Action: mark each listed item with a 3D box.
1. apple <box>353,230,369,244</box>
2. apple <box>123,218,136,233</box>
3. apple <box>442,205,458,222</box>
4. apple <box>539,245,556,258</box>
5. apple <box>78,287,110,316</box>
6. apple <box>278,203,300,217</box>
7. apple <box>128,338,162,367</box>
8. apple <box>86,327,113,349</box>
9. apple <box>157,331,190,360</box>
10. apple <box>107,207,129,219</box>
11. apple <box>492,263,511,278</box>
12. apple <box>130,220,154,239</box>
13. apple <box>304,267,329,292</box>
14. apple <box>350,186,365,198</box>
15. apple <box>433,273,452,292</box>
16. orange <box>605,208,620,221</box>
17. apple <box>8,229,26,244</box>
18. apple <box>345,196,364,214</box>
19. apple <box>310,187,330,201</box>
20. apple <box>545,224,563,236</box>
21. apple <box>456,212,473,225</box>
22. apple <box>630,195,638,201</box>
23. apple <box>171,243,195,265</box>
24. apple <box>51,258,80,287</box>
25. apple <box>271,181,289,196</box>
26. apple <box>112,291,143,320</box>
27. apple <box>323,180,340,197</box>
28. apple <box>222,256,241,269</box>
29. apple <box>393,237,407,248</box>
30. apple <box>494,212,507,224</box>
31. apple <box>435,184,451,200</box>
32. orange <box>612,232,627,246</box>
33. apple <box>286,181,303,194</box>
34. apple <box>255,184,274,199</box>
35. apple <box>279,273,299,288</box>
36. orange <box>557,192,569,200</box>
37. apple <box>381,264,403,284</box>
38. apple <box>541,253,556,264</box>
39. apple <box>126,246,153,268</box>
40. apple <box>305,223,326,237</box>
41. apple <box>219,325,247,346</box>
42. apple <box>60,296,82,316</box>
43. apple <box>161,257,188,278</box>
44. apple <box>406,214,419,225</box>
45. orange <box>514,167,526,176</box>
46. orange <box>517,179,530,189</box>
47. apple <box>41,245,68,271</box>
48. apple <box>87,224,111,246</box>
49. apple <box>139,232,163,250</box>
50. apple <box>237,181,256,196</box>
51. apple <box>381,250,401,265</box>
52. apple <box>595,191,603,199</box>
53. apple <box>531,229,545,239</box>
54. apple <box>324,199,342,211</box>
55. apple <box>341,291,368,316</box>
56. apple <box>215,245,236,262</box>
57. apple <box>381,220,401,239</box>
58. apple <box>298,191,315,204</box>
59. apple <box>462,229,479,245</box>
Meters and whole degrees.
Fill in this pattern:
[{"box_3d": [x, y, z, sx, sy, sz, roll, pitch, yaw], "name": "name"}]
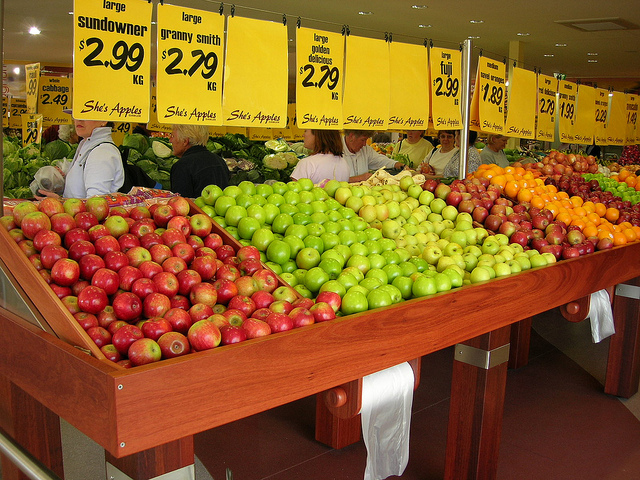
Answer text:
[{"box_3d": [0.205, -0.014, 2.270, 0.052, 0.071, 0.055, -2, -10, -13], "name": "apple"}, {"box_3d": [-0.771, -0.060, 1.852, 0.041, 0.045, 0.044, -1, 11, -3], "name": "apple"}, {"box_3d": [0.805, -0.172, 2.855, 0.074, 0.091, 0.083, 26, 66, 40], "name": "apple"}, {"box_3d": [1.294, 0.052, 2.581, 0.064, 0.073, 0.070, 4, 14, 22], "name": "apple"}, {"box_3d": [-0.729, 0.196, 1.512, 0.084, 0.089, 0.087, 28, -14, -4], "name": "apple"}, {"box_3d": [-0.155, -0.155, 2.275, 0.063, 0.071, 0.067, 1, 8, -1], "name": "apple"}, {"box_3d": [-0.489, 0.318, 1.275, 0.068, 0.077, 0.073, 13, -38, -11], "name": "apple"}, {"box_3d": [-0.682, 0.298, 1.411, 0.054, 0.063, 0.059, 0, 7, 15], "name": "apple"}, {"box_3d": [-0.423, 0.308, 1.320, 0.067, 0.077, 0.070, 10, -18, -2], "name": "apple"}, {"box_3d": [-0.839, -0.121, 1.882, 0.053, 0.056, 0.056, 13, 10, -3], "name": "apple"}, {"box_3d": [0.896, 0.148, 2.242, 0.065, 0.073, 0.070, 5, -21, -9], "name": "apple"}, {"box_3d": [-0.703, -0.048, 1.795, 0.062, 0.072, 0.064, -9, 25, -11], "name": "apple"}, {"box_3d": [-0.018, 0.165, 1.954, 0.087, 0.097, 0.090, -10, 10, -20], "name": "apple"}, {"box_3d": [0.210, -0.279, 2.584, 0.059, 0.080, 0.064, -1, -9, -9], "name": "apple"}, {"box_3d": [0.532, 0.197, 2.023, 0.063, 0.086, 0.067, 3, -31, -16], "name": "apple"}, {"box_3d": [2.173, -0.193, 3.383, 0.080, 0.094, 0.103, 1, 24, 2], "name": "orange"}, {"box_3d": [-1.114, -0.019, 1.671, 0.047, 0.051, 0.052, -3, -24, -1], "name": "apple"}, {"box_3d": [0.197, -0.208, 2.580, 0.085, 0.093, 0.083, -22, 25, -39], "name": "apple"}, {"box_3d": [-0.008, -0.257, 2.498, 0.070, 0.054, 0.094, -15, 29, -27], "name": "apple"}, {"box_3d": [1.470, -0.078, 2.862, 0.070, 0.093, 0.074, 21, 42, 40], "name": "apple"}, {"box_3d": [0.873, -0.142, 2.761, 0.064, 0.070, 0.077, 29, 17, 0], "name": "apple"}, {"box_3d": [2.767, -0.375, 4.006, 0.056, 0.045, 0.048, -8, 14, -36], "name": "apple"}, {"box_3d": [-0.520, 0.046, 1.742, 0.073, 0.081, 0.076, 24, 21, -11], "name": "apple"}, {"box_3d": [-0.860, 0.110, 1.572, 0.082, 0.095, 0.087, 18, -1, 32], "name": "apple"}, {"box_3d": [-0.209, -0.275, 2.388, 0.072, 0.078, 0.071, -20, 33, -38], "name": "apple"}, {"box_3d": [-0.614, 0.214, 1.455, 0.076, 0.089, 0.082, 6, 2, -19], "name": "apple"}, {"box_3d": [0.068, -0.306, 2.689, 0.084, 0.115, 0.088, 4, -12, 44], "name": "apple"}, {"box_3d": [-0.353, 0.092, 1.831, 0.043, 0.048, 0.047, -1, 0, 13], "name": "apple"}, {"box_3d": [0.423, 0.012, 2.403, 0.047, 0.053, 0.050, -1, -1, -6], "name": "apple"}, {"box_3d": [1.121, -0.139, 2.808, 0.054, 0.062, 0.059, 4, 9, 12], "name": "apple"}, {"box_3d": [0.782, -0.312, 2.951, 0.091, 0.116, 0.091, 20, -7, -31], "name": "apple"}, {"box_3d": [2.003, -0.005, 3.049, 0.051, 0.068, 0.057, 12, 52, 12], "name": "orange"}, {"box_3d": [-0.136, -0.292, 2.453, 0.064, 0.071, 0.067, -9, 6, -19], "name": "apple"}, {"box_3d": [-0.283, -0.260, 2.335, 0.066, 0.089, 0.072, -2, -32, -13], "name": "apple"}, {"box_3d": [-0.126, 0.165, 1.919, 0.051, 0.056, 0.056, 10, 27, -2], "name": "apple"}, {"box_3d": [1.815, -0.332, 3.397, 0.050, 0.038, 0.063, 2, 9, 4], "name": "orange"}, {"box_3d": [0.328, 0.153, 2.056, 0.071, 0.101, 0.078, -1, -6, 6], "name": "apple"}, {"box_3d": [1.274, 0.100, 2.545, 0.058, 0.066, 0.062, 0, -2, -7], "name": "apple"}, {"box_3d": [-0.656, 0.058, 1.659, 0.067, 0.067, 0.071, 17, 33, -37], "name": "apple"}, {"box_3d": [-0.019, -0.043, 2.170, 0.065, 0.071, 0.064, 1, -1, -36], "name": "apple"}, {"box_3d": [-0.267, 0.292, 1.383, 0.055, 0.061, 0.058, -15, -21, 31], "name": "apple"}, {"box_3d": [-0.811, 0.209, 1.484, 0.053, 0.056, 0.054, 27, 35, -9], "name": "apple"}, {"box_3d": [-0.532, 0.094, 1.662, 0.065, 0.076, 0.067, 6, -18, -17], "name": "apple"}, {"box_3d": [0.538, -0.119, 2.627, 0.048, 0.068, 0.052, -2, 2, 18], "name": "apple"}, {"box_3d": [1.550, -0.539, 3.521, 0.070, 0.045, 0.078, 7, 22, -2], "name": "orange"}, {"box_3d": [1.504, -0.417, 3.362, 0.055, 0.047, 0.075, 7, 20, -21], "name": "orange"}, {"box_3d": [-0.908, 0.060, 1.597, 0.073, 0.084, 0.079, 16, -11, 8], "name": "apple"}, {"box_3d": [-0.817, -0.017, 1.689, 0.063, 0.074, 0.068, -5, -10, -11], "name": "apple"}, {"box_3d": [-0.649, -0.002, 1.749, 0.061, 0.067, 0.065, 6, 7, 14], "name": "apple"}, {"box_3d": [-0.378, -0.267, 2.340, 0.072, 0.100, 0.074, -3, 0, -21], "name": "apple"}, {"box_3d": [0.344, 0.092, 2.232, 0.064, 0.090, 0.070, 3, -23, -12], "name": "apple"}, {"box_3d": [2.231, -0.366, 3.627, 0.048, 0.030, 0.052, 10, 19, -7], "name": "apple"}, {"box_3d": [1.361, -0.039, 2.833, 0.065, 0.074, 0.070, -5, -2, 2], "name": "apple"}, {"box_3d": [0.069, -0.193, 2.454, 0.064, 0.072, 0.068, 6, 6, 40], "name": "apple"}, {"box_3d": [0.131, 0.248, 1.770, 0.083, 0.110, 0.083, -5, 13, -43], "name": "apple"}, {"box_3d": [-0.392, 0.052, 1.867, 0.061, 0.069, 0.067, -2, 23, -12], "name": "apple"}, {"box_3d": [0.384, -0.055, 2.489, 0.083, 0.097, 0.094, -12, 13, -8], "name": "apple"}, {"box_3d": [-0.069, -0.227, 2.388, 0.064, 0.070, 0.069, 0, 4, 6], "name": "apple"}, {"box_3d": [0.855, -0.011, 2.610, 0.074, 0.093, 0.076, -29, -40, 30], "name": "apple"}]
